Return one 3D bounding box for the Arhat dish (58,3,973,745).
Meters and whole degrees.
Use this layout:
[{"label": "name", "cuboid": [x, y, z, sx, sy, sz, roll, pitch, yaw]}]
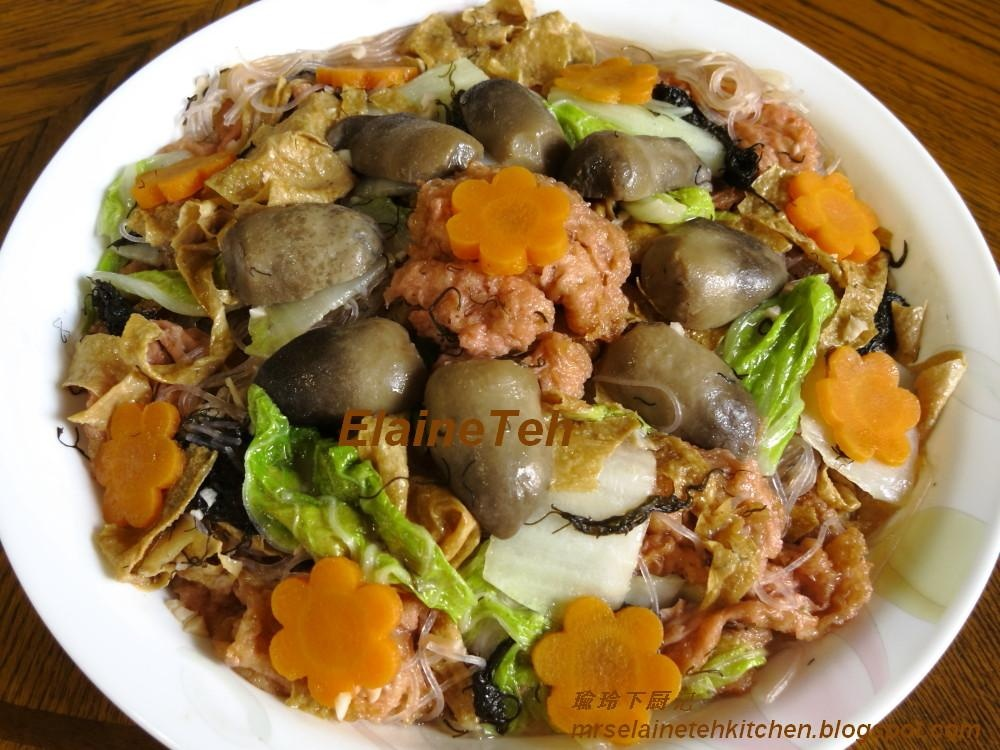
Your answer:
[{"label": "Arhat dish", "cuboid": [0.042, -0.083, 3.860, 3.547, 0.779, 3.057, -10, 78, -4]}]
